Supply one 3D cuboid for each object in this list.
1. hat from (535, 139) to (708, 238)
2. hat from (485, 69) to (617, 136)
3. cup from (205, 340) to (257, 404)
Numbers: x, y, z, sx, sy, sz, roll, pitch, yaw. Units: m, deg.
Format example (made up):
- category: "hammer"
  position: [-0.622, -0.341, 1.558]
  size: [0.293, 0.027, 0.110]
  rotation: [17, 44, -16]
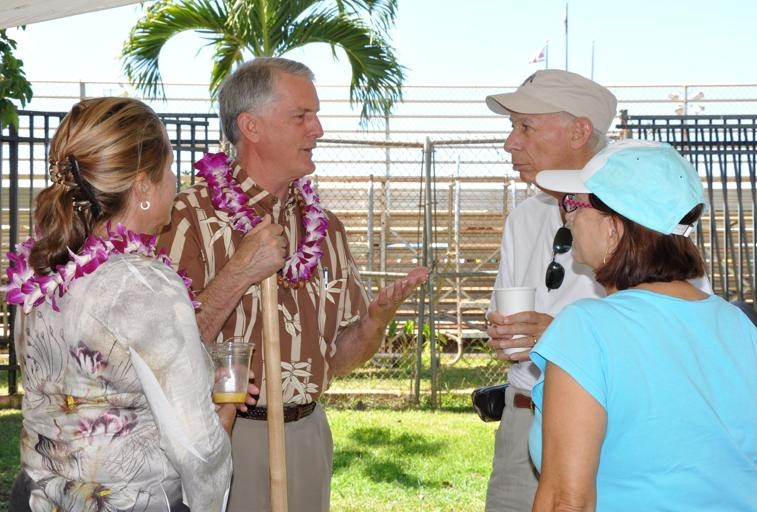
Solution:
- category: "hat"
  position: [0.995, -0.302, 3.519]
  size: [0.533, 0.270, 0.352]
  rotation: [13, 6, 19]
- category: "hat"
  position: [0.936, -0.771, 4.633]
  size: [0.516, 0.212, 0.356]
  rotation: [6, -2, 0]
- category: "cup"
  position: [-0.644, 0.513, 3.832]
  size: [0.247, 0.254, 0.241]
  rotation: [0, -10, 0]
